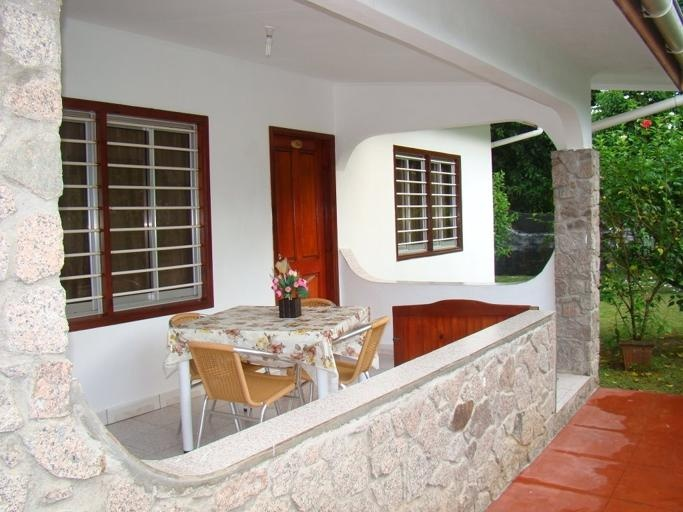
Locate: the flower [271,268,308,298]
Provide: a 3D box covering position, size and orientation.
[{"bbox_3d":[-0.464,0.241,4.233,0.281,0.298,0.297,0,-3,-4],"label":"flower"}]

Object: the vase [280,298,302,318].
[{"bbox_3d":[-0.439,0.441,4.131,0.152,0.163,0.162,-1,2,13],"label":"vase"}]
